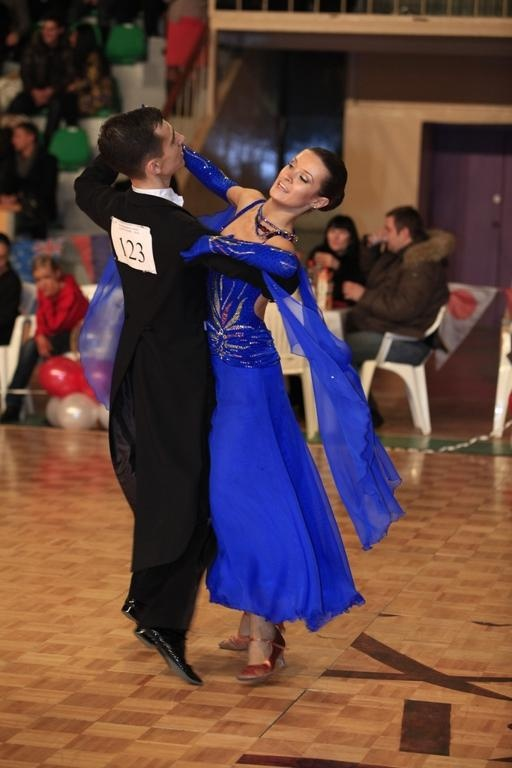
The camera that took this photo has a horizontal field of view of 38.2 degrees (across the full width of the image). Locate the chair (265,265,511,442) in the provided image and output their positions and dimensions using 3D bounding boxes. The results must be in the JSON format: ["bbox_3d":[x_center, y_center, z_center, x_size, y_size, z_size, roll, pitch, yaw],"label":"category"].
[{"bbox_3d":[0.662,-0.293,5.750,1.558,1.755,1.150,6,7,-13],"label":"chair"}]

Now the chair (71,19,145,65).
[{"bbox_3d":[-1.694,-4.047,8.704,0.655,0.703,0.556,-9,33,-16],"label":"chair"}]

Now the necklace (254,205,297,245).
[{"bbox_3d":[0.029,-0.339,1.614,0.048,0.094,0.070,-50,20,4],"label":"necklace"}]

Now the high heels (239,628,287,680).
[{"bbox_3d":[0.036,0.657,1.808,0.065,0.073,0.175,-1,-2,22],"label":"high heels"}]

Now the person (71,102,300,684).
[{"bbox_3d":[-0.241,0.063,1.710,0.438,1.315,0.245,11,14,43],"label":"person"}]
